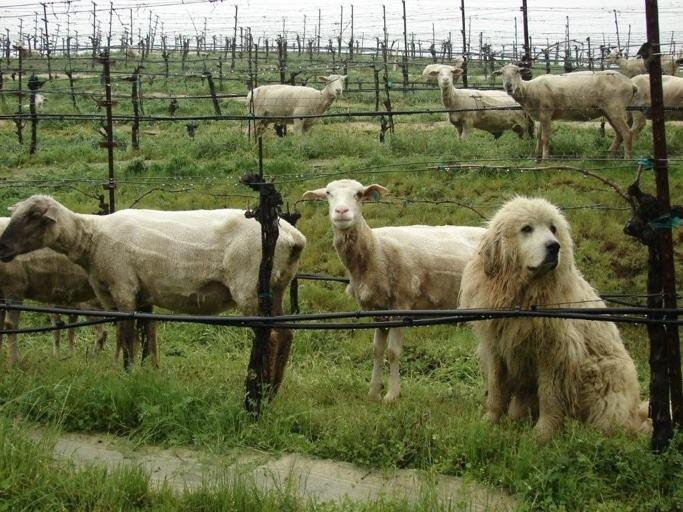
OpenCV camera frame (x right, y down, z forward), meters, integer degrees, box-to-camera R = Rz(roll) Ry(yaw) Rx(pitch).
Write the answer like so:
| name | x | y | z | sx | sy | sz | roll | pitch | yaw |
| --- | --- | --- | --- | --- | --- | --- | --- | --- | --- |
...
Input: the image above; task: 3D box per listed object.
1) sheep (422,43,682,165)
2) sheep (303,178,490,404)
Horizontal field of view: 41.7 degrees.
| name | x | y | z | sx | sy | sz | roll | pitch | yaw |
| --- | --- | --- | --- | --- | --- | --- | --- | --- | --- |
| sheep | 5.627 | -3.343 | 20.779 | 4.056 | 2.216 | 2.616 | -1 | 5 | 6 |
| sheep | 0.825 | 0.687 | 13.985 | 3.423 | 2.494 | 1.319 | 5 | -3 | -34 |
